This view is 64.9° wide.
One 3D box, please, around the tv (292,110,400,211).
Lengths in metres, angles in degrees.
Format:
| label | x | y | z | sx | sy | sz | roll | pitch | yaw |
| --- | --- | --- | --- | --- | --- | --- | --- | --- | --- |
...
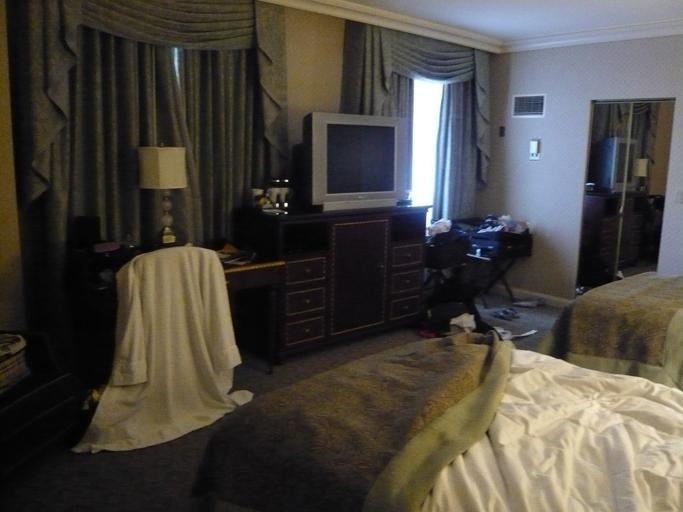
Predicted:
| label | x | y | z | sx | sy | sz | roll | pitch | yaw |
| --- | --- | --- | --- | --- | --- | --- | --- | --- | --- |
| tv | 0.022 | -0.772 | 4.394 | 0.844 | 0.663 | 0.467 | -6 | 11 | -34 |

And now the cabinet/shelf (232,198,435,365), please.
| label | x | y | z | sx | sy | sz | roll | pitch | yaw |
| --- | --- | --- | --- | --- | --- | --- | --- | --- | --- |
| cabinet/shelf | -0.126 | 0.187 | 4.230 | 1.322 | 0.880 | 0.454 | -6 | 11 | -38 |
